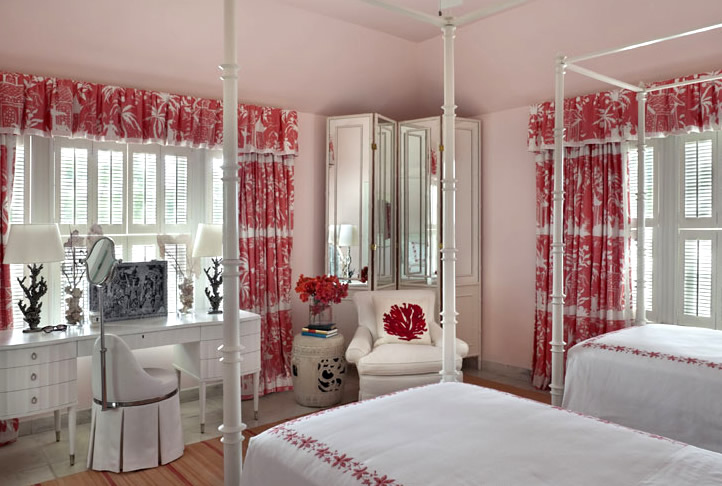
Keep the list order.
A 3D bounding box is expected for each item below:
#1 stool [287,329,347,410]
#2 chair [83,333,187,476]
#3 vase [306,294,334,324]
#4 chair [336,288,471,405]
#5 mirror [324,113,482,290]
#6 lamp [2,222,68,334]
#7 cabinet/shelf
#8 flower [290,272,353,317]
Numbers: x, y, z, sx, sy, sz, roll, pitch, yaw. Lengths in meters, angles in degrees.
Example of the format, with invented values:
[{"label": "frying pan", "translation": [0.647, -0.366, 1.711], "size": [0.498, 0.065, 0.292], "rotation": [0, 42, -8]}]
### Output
[{"label": "stool", "translation": [-0.351, 1.248, 5.440], "size": [0.654, 0.685, 0.687], "rotation": [1, 1, -22]}, {"label": "chair", "translation": [-1.924, 1.270, 4.850], "size": [0.987, 1.306, 1.004], "rotation": [-1, 1, -34]}, {"label": "vase", "translation": [-0.412, 0.667, 5.443], "size": [0.276, 0.291, 0.263], "rotation": [0, 1, -40]}, {"label": "chair", "translation": [0.363, 0.991, 5.415], "size": [1.109, 1.150, 1.140], "rotation": [0, -8, -5]}, {"label": "mirror", "translation": [0.665, -0.484, 6.904], "size": [2.245, 2.488, 1.843], "rotation": [0, 2, -23]}, {"label": "lamp", "translation": [-2.745, 0.265, 4.475], "size": [0.410, 0.922, 0.559], "rotation": [-11, 16, -35]}, {"label": "cabinet/shelf", "translation": [0.381, 0.887, 5.444], "size": [0.947, 0.939, 0.918], "rotation": [1, -18, -3]}, {"label": "flower", "translation": [-0.378, 0.525, 5.374], "size": [0.460, 0.397, 0.451], "rotation": [5, -8, -39]}]
